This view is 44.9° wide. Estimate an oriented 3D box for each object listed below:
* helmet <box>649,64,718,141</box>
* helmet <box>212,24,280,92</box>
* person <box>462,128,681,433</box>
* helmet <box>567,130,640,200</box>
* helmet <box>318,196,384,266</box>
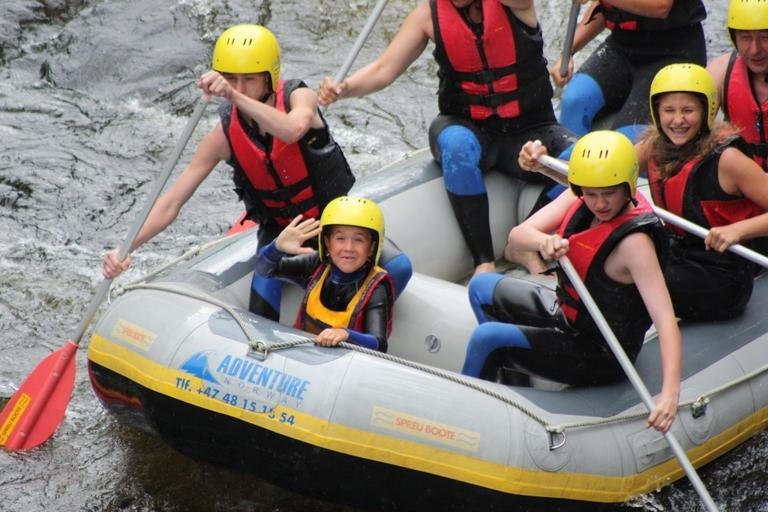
[{"bbox_3d":[1.574,-0.801,5.009,0.332,0.405,0.319,-2,74,15],"label":"helmet"},{"bbox_3d":[-0.792,-1.080,5.147,0.328,0.305,0.406,13,16,14],"label":"helmet"},{"bbox_3d":[0.904,0.161,4.668,1.075,1.065,1.223,-1,49,11],"label":"person"},{"bbox_3d":[1.103,-0.426,4.687,0.334,0.328,0.405,6,31,29],"label":"helmet"},{"bbox_3d":[-0.206,-0.157,5.092,0.347,0.331,0.362,4,6,-9],"label":"helmet"}]
